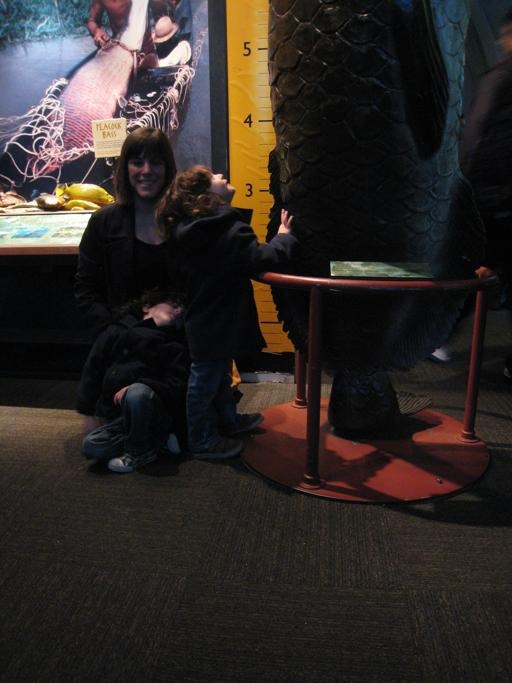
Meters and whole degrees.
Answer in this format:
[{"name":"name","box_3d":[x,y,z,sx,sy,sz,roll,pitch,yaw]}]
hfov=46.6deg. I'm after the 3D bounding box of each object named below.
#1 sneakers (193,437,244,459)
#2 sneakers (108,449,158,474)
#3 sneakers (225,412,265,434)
[{"name":"sneakers","box_3d":[-0.101,0.324,1.830,0.165,0.062,0.055,-6,-12,4]},{"name":"sneakers","box_3d":[-0.368,0.360,1.783,0.132,0.047,0.054,4,0,-35]},{"name":"sneakers","box_3d":[-0.041,0.263,1.960,0.154,0.050,0.048,-8,5,-23]}]
